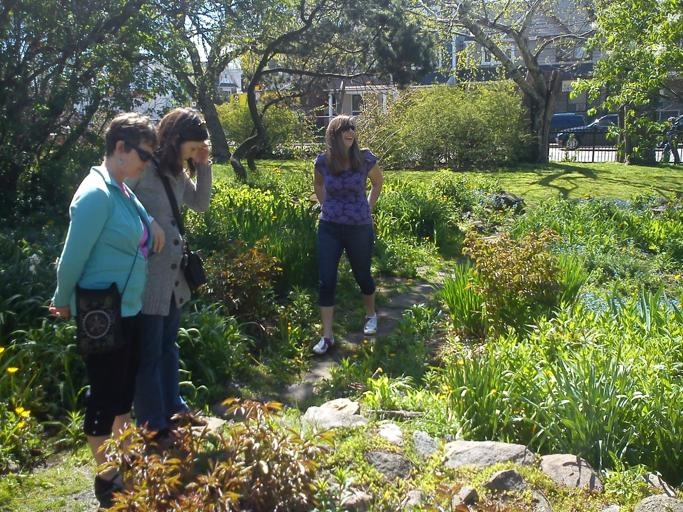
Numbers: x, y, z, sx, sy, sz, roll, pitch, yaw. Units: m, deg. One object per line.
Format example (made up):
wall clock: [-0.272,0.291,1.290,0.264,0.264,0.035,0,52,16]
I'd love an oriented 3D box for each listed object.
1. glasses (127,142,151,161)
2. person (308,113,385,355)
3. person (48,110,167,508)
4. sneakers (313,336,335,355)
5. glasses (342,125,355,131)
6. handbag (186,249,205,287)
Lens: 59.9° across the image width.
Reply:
glasses: [-1.194,-0.620,3.552,0.087,0.027,0.096,15,38,-55]
person: [0.049,-0.245,6.005,0.716,2.334,0.630,-2,6,0]
person: [-1.368,0.313,3.524,0.644,2.321,0.431,-5,6,-29]
sneakers: [-0.175,0.876,5.909,0.100,0.136,0.290,-1,5,23]
glasses: [0.085,-1.239,5.716,0.065,0.054,0.150,3,9,36]
handbag: [-1.048,0.088,4.112,0.072,0.226,0.143,-6,5,43]
